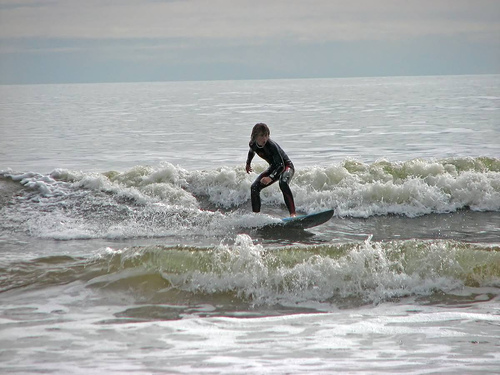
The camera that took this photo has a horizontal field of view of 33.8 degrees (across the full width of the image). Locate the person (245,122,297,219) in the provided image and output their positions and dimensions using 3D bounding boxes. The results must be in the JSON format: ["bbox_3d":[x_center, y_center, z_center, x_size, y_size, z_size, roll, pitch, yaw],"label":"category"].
[{"bbox_3d":[0.401,-0.349,15.562,1.240,1.751,0.720,5,17,23],"label":"person"}]

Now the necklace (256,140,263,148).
[{"bbox_3d":[0.187,-0.807,15.457,0.118,0.156,0.046,-2,16,-2],"label":"necklace"}]
